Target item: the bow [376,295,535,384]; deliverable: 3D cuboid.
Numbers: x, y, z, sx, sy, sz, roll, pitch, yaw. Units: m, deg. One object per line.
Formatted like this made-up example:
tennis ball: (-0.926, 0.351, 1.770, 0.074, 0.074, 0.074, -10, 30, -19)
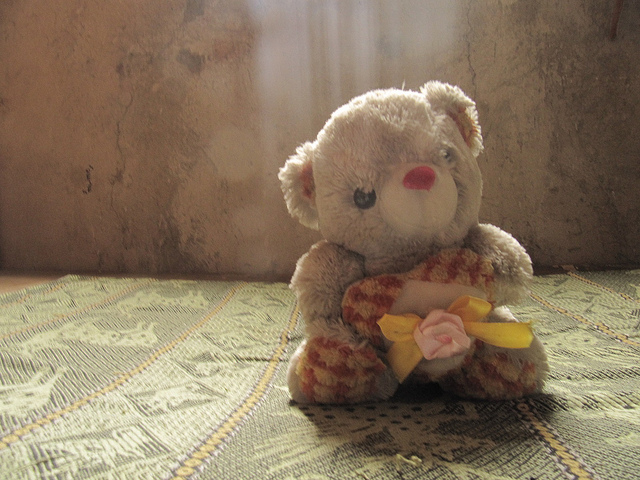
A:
bow: (0.311, 0.223, 1.374, 0.361, 0.205, 0.064, -2, 9, -2)
